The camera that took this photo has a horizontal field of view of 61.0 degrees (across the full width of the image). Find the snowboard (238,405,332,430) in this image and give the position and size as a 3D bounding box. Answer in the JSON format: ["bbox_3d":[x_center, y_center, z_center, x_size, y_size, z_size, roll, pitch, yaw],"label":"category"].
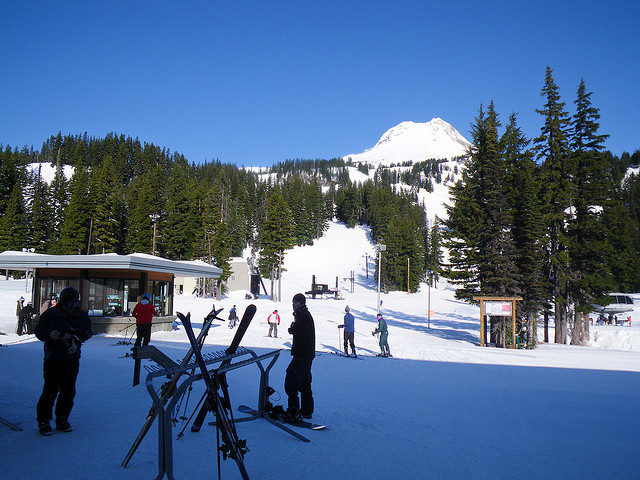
[{"bbox_3d":[-0.979,4.605,13.995,2.340,0.191,0.334,7,-3,9],"label":"snowboard"}]

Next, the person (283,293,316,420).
[{"bbox_3d":[-0.549,3.099,14.323,0.717,3.280,0.839,1,-2,4],"label":"person"}]
